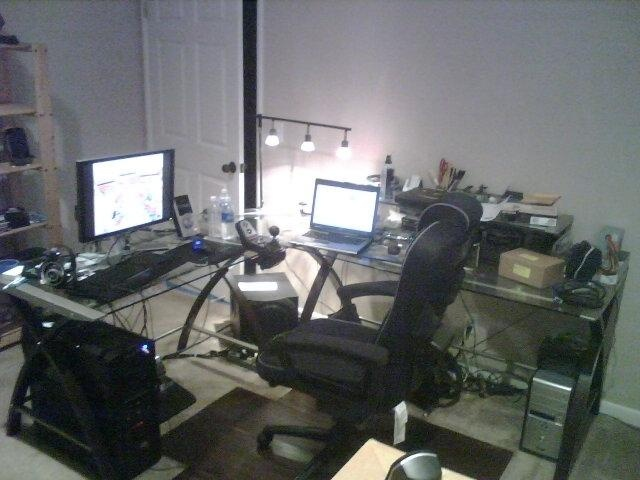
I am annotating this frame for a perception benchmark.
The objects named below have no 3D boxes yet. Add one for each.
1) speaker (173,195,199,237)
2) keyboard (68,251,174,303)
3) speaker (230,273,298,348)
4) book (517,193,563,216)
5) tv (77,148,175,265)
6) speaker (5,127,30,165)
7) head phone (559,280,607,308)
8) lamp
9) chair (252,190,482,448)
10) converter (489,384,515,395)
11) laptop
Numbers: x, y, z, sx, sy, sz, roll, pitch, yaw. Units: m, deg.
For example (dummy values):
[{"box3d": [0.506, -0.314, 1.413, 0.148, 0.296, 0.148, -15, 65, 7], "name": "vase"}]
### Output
[{"box3d": [-0.813, -0.139, 2.907, 0.059, 0.216, 0.175, -4, 9, 35], "name": "speaker"}, {"box3d": [-0.986, 0.183, 2.423, 0.214, 0.038, 0.355, 16, 25, 22], "name": "keyboard"}, {"box3d": [-0.350, 0.461, 3.322, 0.521, 0.430, 0.475, -2, 17, -9], "name": "speaker"}, {"box3d": [1.254, -0.215, 2.777, 0.202, 0.086, 0.297, 10, 18, 25], "name": "book"}, {"box3d": [-1.072, -0.176, 2.691, 0.200, 0.548, 0.604, 20, 25, 33], "name": "tv"}, {"box3d": [-2.023, -0.631, 3.248, 0.124, 0.234, 0.174, -13, 23, -37], "name": "speaker"}, {"box3d": [1.307, 0.264, 2.430, 0.211, 0.078, 0.211, 11, 19, 29], "name": "head phone"}, {"box3d": [-0.079, -0.728, 3.450, 0.647, 0.205, 0.106, 16, 38, 15], "name": "lamp"}, {"box3d": [0.211, 0.472, 2.297, 0.834, 1.457, 0.634, 10, 21, 23], "name": "chair"}, {"box3d": [1.150, 0.947, 3.085, 0.114, 0.023, 0.060, -1, 18, 11], "name": "converter"}, {"box3d": [0.151, -0.169, 3.104, 0.643, 0.449, 0.423, 11, 19, 20], "name": "laptop"}]
